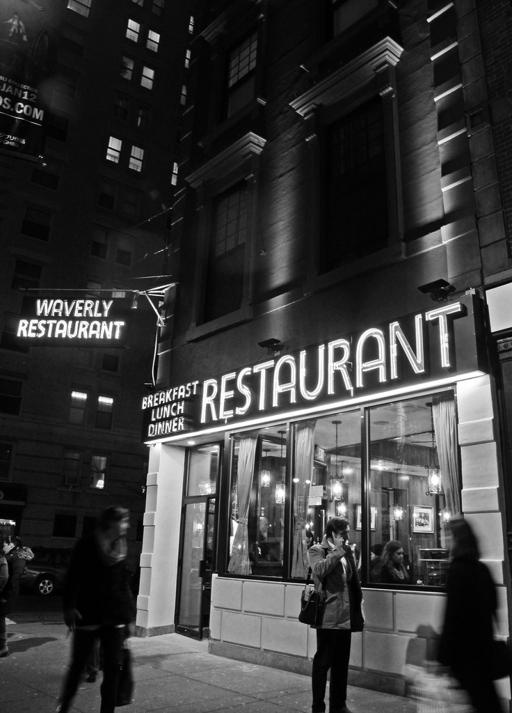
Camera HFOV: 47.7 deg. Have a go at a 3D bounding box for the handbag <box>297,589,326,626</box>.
[{"bbox_3d":[0.525,2.481,5.684,0.196,0.343,0.398,6,-17,-13],"label":"handbag"}]

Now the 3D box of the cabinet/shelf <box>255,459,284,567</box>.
[{"bbox_3d":[0.229,2.552,9.473,0.426,1.909,0.645,2,-15,0],"label":"cabinet/shelf"}]

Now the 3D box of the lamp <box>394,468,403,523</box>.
[{"bbox_3d":[2.905,2.888,11.819,0.180,0.908,0.544,-2,-16,14],"label":"lamp"}]

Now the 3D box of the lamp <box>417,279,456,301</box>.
[{"bbox_3d":[2.201,-0.796,7.090,0.410,0.193,0.311,-13,-23,40],"label":"lamp"}]

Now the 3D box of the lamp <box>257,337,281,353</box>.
[{"bbox_3d":[0.242,-0.175,9.589,0.395,0.174,0.273,-14,-24,42],"label":"lamp"}]
